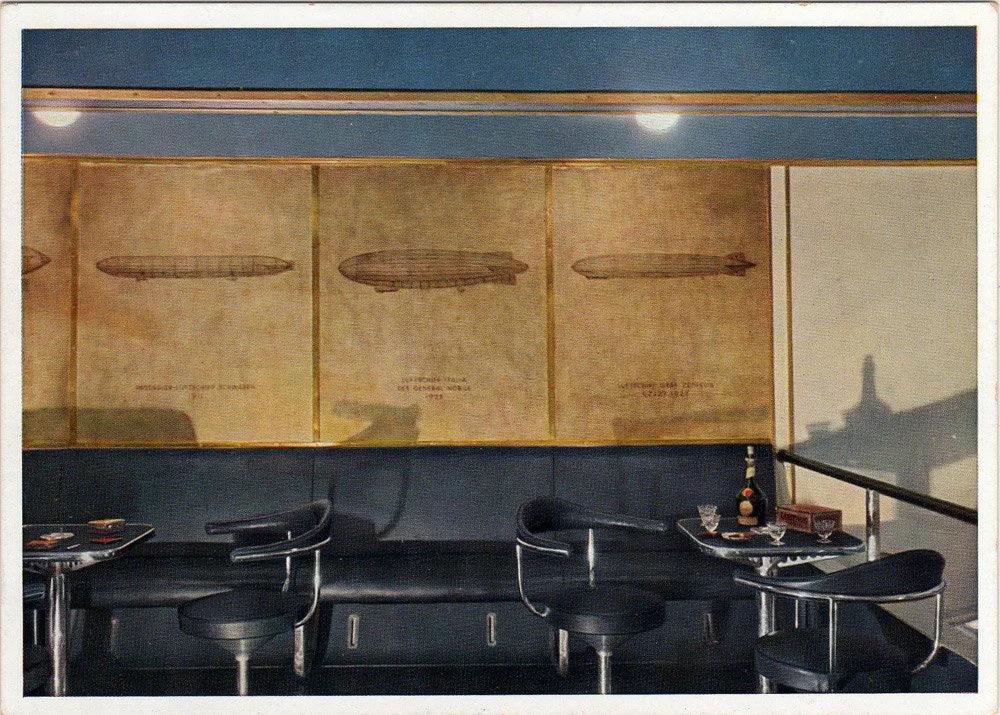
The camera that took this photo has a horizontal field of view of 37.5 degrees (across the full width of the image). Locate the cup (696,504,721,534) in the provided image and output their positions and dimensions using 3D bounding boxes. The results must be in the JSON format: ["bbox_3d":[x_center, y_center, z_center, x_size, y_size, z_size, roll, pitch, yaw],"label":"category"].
[{"bbox_3d":[0.759,0.587,5.326,0.114,0.089,0.091,-3,-2,-5],"label":"cup"}]

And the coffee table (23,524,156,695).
[{"bbox_3d":[-1.311,0.863,5.199,0.720,0.499,0.612,1,-3,-4],"label":"coffee table"}]

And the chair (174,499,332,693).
[{"bbox_3d":[-0.873,0.860,5.327,0.514,0.738,0.730,1,-31,-6],"label":"chair"}]

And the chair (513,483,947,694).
[{"bbox_3d":[0.830,0.823,5.176,1.436,0.838,0.712,-9,-32,11],"label":"chair"}]

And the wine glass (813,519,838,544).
[{"bbox_3d":[1.143,0.606,5.176,0.093,0.077,0.082,0,-8,-1],"label":"wine glass"}]

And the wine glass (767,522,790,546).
[{"bbox_3d":[0.990,0.620,5.196,0.085,0.049,0.062,0,1,-8],"label":"wine glass"}]
